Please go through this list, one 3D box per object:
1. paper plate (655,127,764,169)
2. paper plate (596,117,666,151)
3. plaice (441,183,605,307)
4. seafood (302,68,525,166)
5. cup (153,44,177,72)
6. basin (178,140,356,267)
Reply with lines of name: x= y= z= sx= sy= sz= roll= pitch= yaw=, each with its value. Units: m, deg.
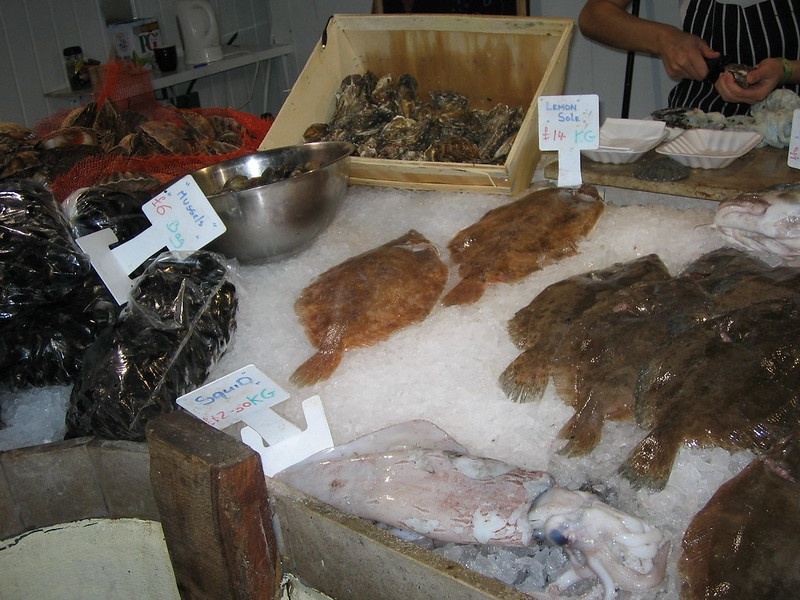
paper plate: x=1.113 y=-0.566 z=2.267 sx=0.400 sy=0.069 sz=0.283 roll=-27 pitch=37 yaw=-35
paper plate: x=0.899 y=-0.644 z=2.413 sx=0.229 sy=0.052 sz=0.219 roll=5 pitch=36 yaw=27
plaice: x=0.396 y=-0.177 z=2.000 sx=0.538 sy=0.076 sz=0.319 roll=-33 pitch=41 yaw=-20
seafood: x=0.076 y=-0.805 z=2.695 sx=1.025 sy=0.233 sz=0.654 roll=23 pitch=39 yaw=39
cup: x=-1.948 y=-2.060 z=5.292 sx=0.210 sy=0.211 sz=0.227 roll=-4 pitch=10 yaw=1
basin: x=-0.434 y=-0.285 z=2.201 sx=0.494 sy=0.230 sz=0.487 roll=-18 pitch=17 yaw=6
